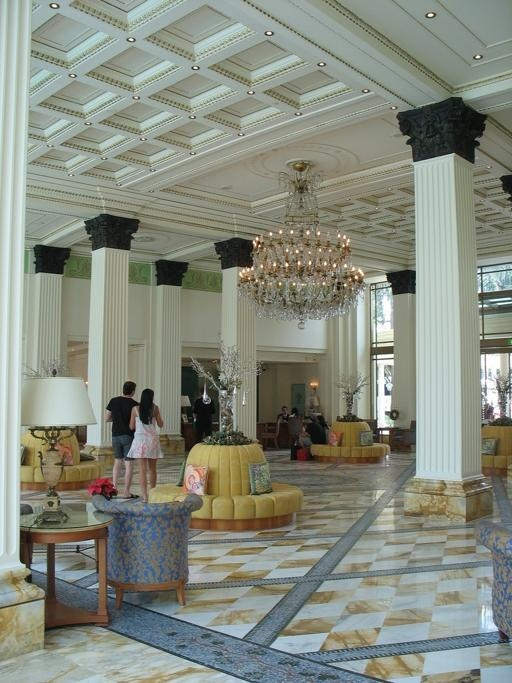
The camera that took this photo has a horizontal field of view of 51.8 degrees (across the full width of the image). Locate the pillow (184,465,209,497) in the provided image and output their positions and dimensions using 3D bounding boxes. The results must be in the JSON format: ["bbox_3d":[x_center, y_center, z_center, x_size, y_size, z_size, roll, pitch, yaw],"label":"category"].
[{"bbox_3d":[-0.697,1.602,6.037,0.300,0.330,0.252,-2,-11,7],"label":"pillow"}]

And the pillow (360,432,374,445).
[{"bbox_3d":[2.907,2.585,13.912,0.351,0.322,0.089,-4,-4,-33],"label":"pillow"}]

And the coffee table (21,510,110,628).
[{"bbox_3d":[-1.163,1.396,3.293,0.660,0.600,0.719,1,-5,-22],"label":"coffee table"}]

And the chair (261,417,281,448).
[{"bbox_3d":[0.362,3.439,19.017,0.778,1.170,0.803,-3,-13,14],"label":"chair"}]

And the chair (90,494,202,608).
[{"bbox_3d":[-0.737,1.471,3.756,0.774,0.676,0.688,8,-14,-30],"label":"chair"}]

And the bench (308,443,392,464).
[{"bbox_3d":[2.446,3.003,13.915,1.978,0.463,0.612,-1,-10,5],"label":"bench"}]

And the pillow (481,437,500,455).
[{"bbox_3d":[4.984,2.281,11.316,0.398,0.335,0.230,8,-14,-40],"label":"pillow"}]

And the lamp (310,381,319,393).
[{"bbox_3d":[2.255,1.830,20.667,0.125,0.491,0.523,4,-12,-23],"label":"lamp"}]

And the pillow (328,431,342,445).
[{"bbox_3d":[2.078,2.595,14.009,0.331,0.318,0.132,-4,-21,40],"label":"pillow"}]

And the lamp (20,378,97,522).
[{"bbox_3d":[-1.217,0.628,3.176,0.499,0.843,0.478,-5,-13,15],"label":"lamp"}]

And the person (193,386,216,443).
[{"bbox_3d":[-1.479,2.087,14.836,0.583,1.519,1.935,1,-11,-7],"label":"person"}]
